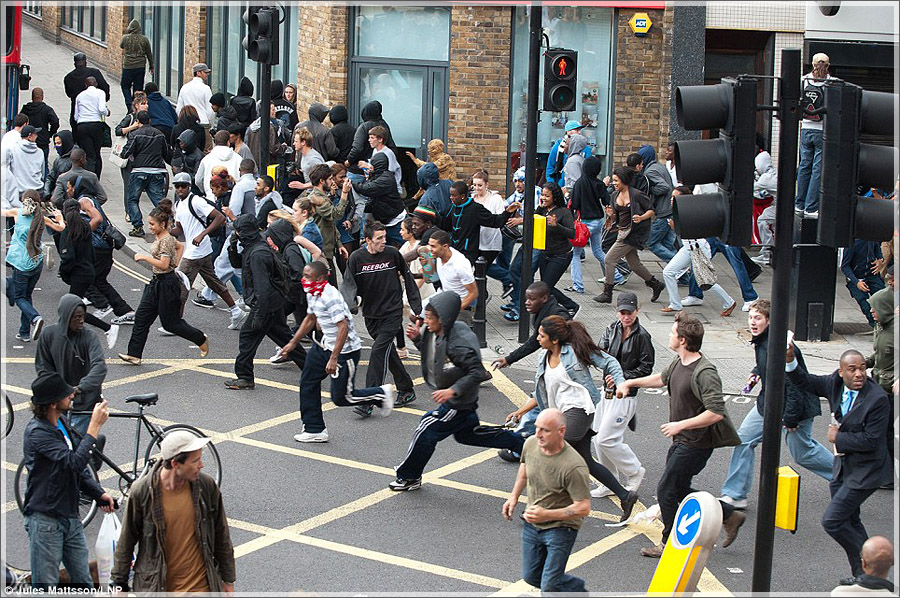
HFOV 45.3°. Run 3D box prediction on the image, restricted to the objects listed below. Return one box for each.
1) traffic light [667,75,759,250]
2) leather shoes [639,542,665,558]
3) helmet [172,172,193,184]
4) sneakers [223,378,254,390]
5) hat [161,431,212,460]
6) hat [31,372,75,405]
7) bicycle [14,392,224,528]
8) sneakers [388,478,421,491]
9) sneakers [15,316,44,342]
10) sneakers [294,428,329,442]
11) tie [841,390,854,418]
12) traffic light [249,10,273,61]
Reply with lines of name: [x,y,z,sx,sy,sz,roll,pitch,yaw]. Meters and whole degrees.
traffic light: [2.365,-1.216,9.670,0.701,1.500,0.427,1,5,10]
leather shoes: [2.114,2.643,11.427,0.268,0.108,0.095,8,3,-4]
helmet: [-4.462,-1.998,18.061,0.330,0.171,0.454,2,8,0]
sneakers: [-2.957,1.206,15.178,0.417,0.183,0.153,5,-11,-2]
hat: [-2.188,1.208,8.876,0.348,0.123,0.235,-16,14,-2]
hat: [-3.663,0.808,9.997,0.277,0.168,0.315,-19,9,3]
bicycle: [-3.658,1.786,12.259,2.632,1.532,1.271,-1,0,-20]
sneakers: [-0.531,2.146,12.699,0.403,0.175,0.139,2,11,-13]
sneakers: [-6.334,0.459,16.267,0.162,0.376,0.120,28,6,31]
sneakers: [-1.764,1.739,13.767,0.445,0.190,0.159,2,4,-2]
tie: [4.181,1.094,11.344,0.071,0.226,0.165,21,16,-15]
traffic light: [-3.207,-4.445,18.353,0.263,0.683,0.764,-3,19,-19]
